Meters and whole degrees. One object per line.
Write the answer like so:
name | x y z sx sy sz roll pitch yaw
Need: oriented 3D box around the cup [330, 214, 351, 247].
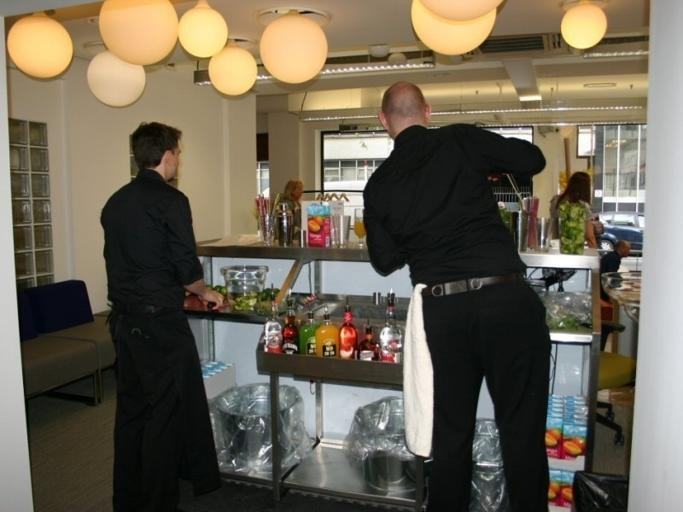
cup | -0.016 -0.156 3.525 0.110 0.198 0.183 -1 3 11

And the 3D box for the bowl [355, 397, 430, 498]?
bowl | 0.282 1.121 3.318 0.408 0.563 0.545 -1 -8 12

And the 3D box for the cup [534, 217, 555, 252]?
cup | 1.133 -0.117 3.169 0.128 0.233 0.155 1 11 12

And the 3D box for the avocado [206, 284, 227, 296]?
avocado | -0.818 0.212 3.710 0.147 0.061 0.063 20 9 0

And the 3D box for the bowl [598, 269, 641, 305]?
bowl | 1.258 0.138 2.538 0.239 0.129 0.253 -3 12 1

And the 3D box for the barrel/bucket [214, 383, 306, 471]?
barrel/bucket | -0.542 1.068 3.486 0.462 0.332 0.478 -2 2 0

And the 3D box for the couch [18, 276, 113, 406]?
couch | -2.166 0.702 4.425 0.471 0.630 0.923 4 9 17

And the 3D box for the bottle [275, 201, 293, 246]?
bottle | -0.373 -0.202 3.668 0.109 0.271 0.297 -2 4 -7

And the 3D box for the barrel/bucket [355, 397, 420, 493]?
barrel/bucket | 0.245 1.101 3.281 0.299 0.415 0.413 -3 -11 4

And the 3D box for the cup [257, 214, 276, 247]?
cup | -0.499 -0.177 3.785 0.098 0.194 0.283 -2 4 -11
